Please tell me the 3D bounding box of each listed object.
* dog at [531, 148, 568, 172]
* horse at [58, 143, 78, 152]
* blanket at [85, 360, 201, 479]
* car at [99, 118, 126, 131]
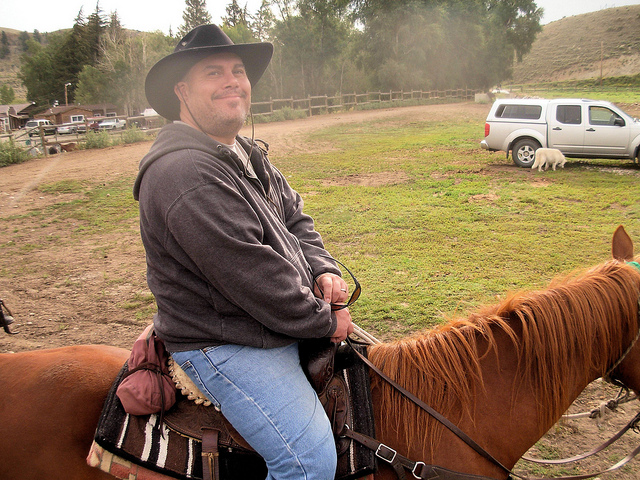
[{"bbox_3d":[6.000,-2.164,13.513,0.845,0.578,0.525,-4,14,-8],"label":"dog"},{"bbox_3d":[-11.020,-4.167,22.564,0.438,0.544,0.592,-3,17,1],"label":"horse"},{"bbox_3d":[-1.003,1.164,3.023,0.611,0.471,0.301,0,14,6],"label":"blanket"},{"bbox_3d":[-16.278,-9.280,40.372,1.839,0.849,4.504,-7,15,-21],"label":"car"}]
